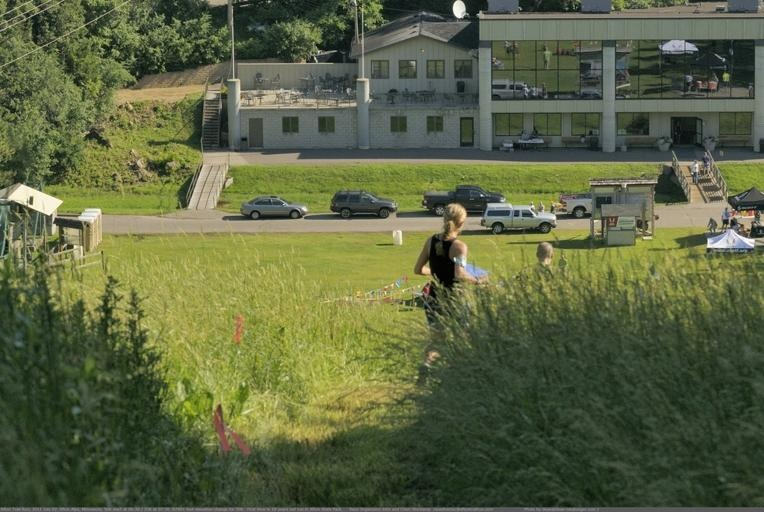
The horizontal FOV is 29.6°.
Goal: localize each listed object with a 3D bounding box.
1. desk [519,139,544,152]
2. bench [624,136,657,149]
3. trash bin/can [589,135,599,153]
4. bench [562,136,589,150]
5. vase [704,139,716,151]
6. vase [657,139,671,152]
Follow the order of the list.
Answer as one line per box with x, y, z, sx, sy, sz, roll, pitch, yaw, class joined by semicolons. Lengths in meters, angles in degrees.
9.843;-7.245;93.232;1.884;0.828;0.978;-3;5;-43;desk
16.743;-7.389;93.512;2.007;0.786;0.861;1;3;5;bench
13.742;-7.356;93.402;0.674;0.830;1.267;1;4;8;trash bin/can
12.531;-7.543;93.949;1.690;0.737;0.463;1;3;8;bench
20.994;-7.140;92.025;0.686;0.870;0.917;0;1;4;vase
18.054;-7.153;92.479;0.768;0.841;0.669;4;3;11;vase
